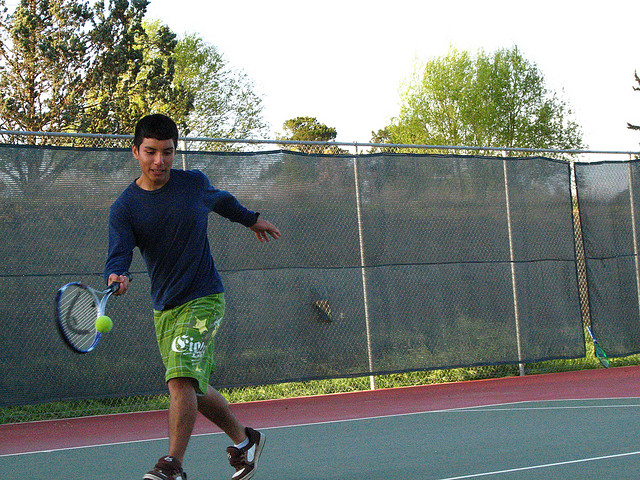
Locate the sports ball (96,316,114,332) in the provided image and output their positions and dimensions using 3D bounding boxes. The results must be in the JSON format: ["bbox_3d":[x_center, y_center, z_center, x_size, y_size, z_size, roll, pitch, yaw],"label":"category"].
[{"bbox_3d":[-1.499,0.588,4.785,0.097,0.099,0.097,14,-20,5],"label":"sports ball"}]

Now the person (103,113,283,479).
[{"bbox_3d":[-0.956,0.455,4.893,1.114,2.736,0.696,-2,1,-18],"label":"person"}]
